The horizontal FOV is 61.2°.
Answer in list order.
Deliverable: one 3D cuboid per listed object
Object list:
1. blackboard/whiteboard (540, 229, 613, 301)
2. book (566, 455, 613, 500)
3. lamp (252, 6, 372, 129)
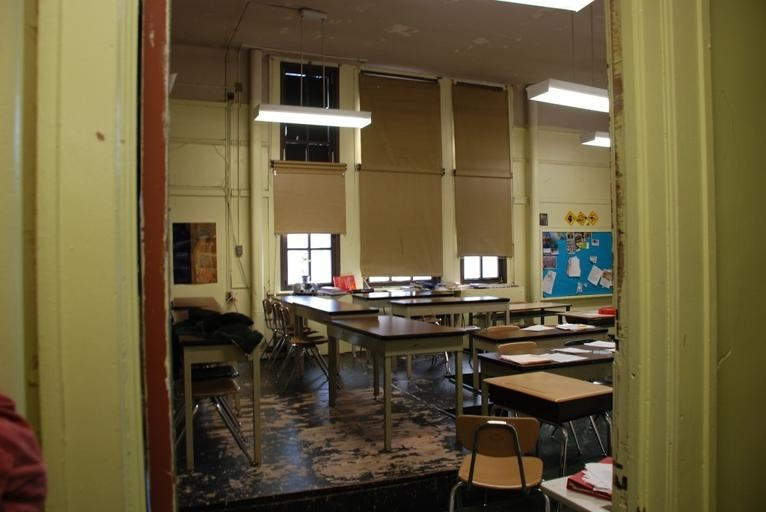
[{"bbox_3d":[3.169,0.120,10.738,1.518,1.191,0.023,0,-5,-24],"label":"blackboard/whiteboard"},{"bbox_3d":[0.850,0.913,2.680,0.213,0.058,0.210,1,-3,-40],"label":"book"},{"bbox_3d":[-0.970,-2.413,8.185,1.260,1.264,0.292,2,-4,-21],"label":"lamp"}]
